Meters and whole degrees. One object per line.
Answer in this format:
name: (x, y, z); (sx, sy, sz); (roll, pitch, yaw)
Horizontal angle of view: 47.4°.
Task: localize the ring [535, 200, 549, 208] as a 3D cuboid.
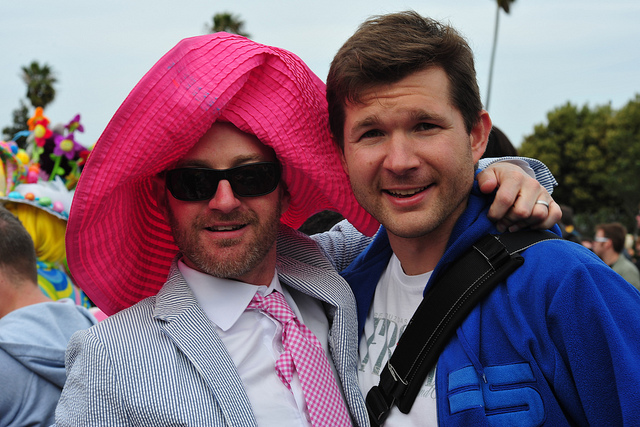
ring: (1.256, -0.053, 4.099); (0.078, 0.042, 0.030); (-2, 2, 10)
